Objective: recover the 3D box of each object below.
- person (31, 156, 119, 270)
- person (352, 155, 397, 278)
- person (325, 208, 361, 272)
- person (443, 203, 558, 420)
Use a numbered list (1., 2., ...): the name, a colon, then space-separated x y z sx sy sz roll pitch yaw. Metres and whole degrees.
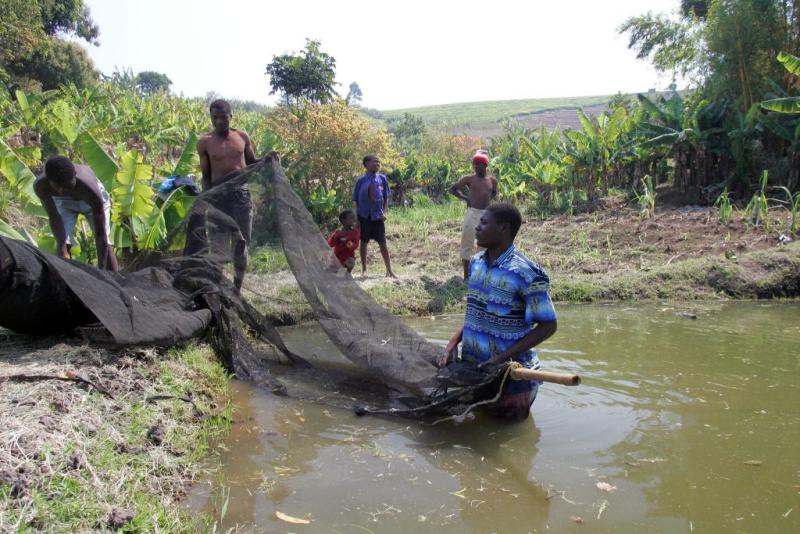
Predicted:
1. person: -4.157 -0.680 9.218 0.803 1.437 1.377 -6 8 -22
2. person: -0.471 -0.915 12.705 0.658 2.156 0.958 -3 8 0
3. person: -0.936 -0.445 12.235 0.502 1.039 1.368 -3 7 -2
4. person: 1.126 0.226 8.131 1.195 1.897 0.683 -2 8 11
